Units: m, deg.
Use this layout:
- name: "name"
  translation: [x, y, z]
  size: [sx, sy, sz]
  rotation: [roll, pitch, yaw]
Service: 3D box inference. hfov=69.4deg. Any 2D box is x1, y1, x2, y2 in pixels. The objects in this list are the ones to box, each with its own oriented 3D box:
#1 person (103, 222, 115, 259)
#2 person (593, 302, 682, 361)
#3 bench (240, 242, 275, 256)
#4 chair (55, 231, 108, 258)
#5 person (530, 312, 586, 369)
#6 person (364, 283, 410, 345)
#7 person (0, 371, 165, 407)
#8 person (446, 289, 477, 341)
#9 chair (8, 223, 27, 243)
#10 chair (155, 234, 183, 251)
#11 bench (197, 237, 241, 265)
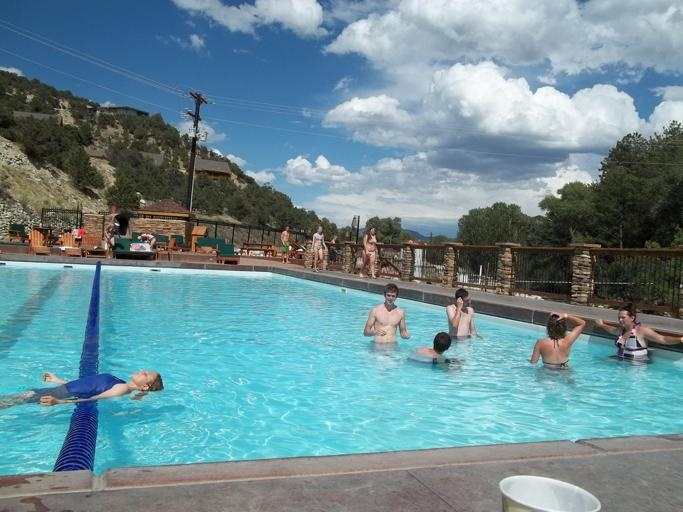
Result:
- name: "person"
  translation: [-9.450, -0.586, 20.251]
  size: [0.430, 1.430, 1.308]
  rotation: [1, 4, -25]
- name: "person"
  translation: [5.251, 1.390, 8.743]
  size: [0.247, 0.678, 0.905]
  rotation: [21, -15, -21]
- name: "bench"
  translation: [-5.235, -0.397, 31.753]
  size: [2.237, 0.809, 4.785]
  rotation: [3, 3, -6]
- name: "chair"
  translation: [-10.744, -0.432, 20.791]
  size: [1.763, 0.916, 2.810]
  rotation: [1, 4, -34]
- name: "person"
  translation: [3.589, 1.434, 8.147]
  size: [0.768, 1.182, 0.507]
  rotation: [3, 32, 19]
- name: "person"
  translation: [0.848, 0.976, 8.383]
  size: [0.741, 1.076, 0.973]
  rotation: [3, 4, -9]
- name: "person"
  translation: [-2.729, 1.433, 5.242]
  size: [1.588, 0.346, 0.665]
  rotation: [2, 4, -20]
- name: "person"
  translation: [2.191, 1.053, 8.975]
  size: [0.514, 0.945, 0.991]
  rotation: [5, 4, 22]
- name: "chair"
  translation: [-18.780, -1.342, 28.938]
  size: [0.840, 1.006, 1.925]
  rotation: [1, 4, -32]
- name: "chair"
  translation: [-8.802, -0.666, 25.548]
  size: [1.290, 0.687, 1.134]
  rotation: [2, 4, -16]
- name: "bench"
  translation: [-5.868, -0.256, 24.413]
  size: [1.480, 1.105, 2.431]
  rotation: [-1, 4, -31]
